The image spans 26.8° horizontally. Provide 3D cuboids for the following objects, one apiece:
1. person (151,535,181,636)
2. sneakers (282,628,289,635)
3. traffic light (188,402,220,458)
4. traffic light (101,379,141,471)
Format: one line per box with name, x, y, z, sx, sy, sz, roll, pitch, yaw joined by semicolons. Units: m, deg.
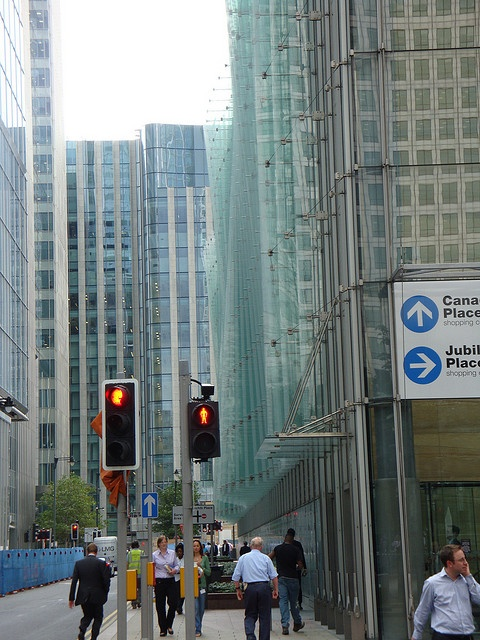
person;-1.288;4.657;17.667;0.452;1.744;1.351;-2;-14;-4
sneakers;0.763;5.283;17.037;0.066;0.171;0.159;3;-13;-13
traffic light;-0.373;1.111;10.294;0.317;0.643;0.374;-3;-14;2
traffic light;-1.155;0.991;9.626;0.341;0.915;0.219;-2;-7;0
